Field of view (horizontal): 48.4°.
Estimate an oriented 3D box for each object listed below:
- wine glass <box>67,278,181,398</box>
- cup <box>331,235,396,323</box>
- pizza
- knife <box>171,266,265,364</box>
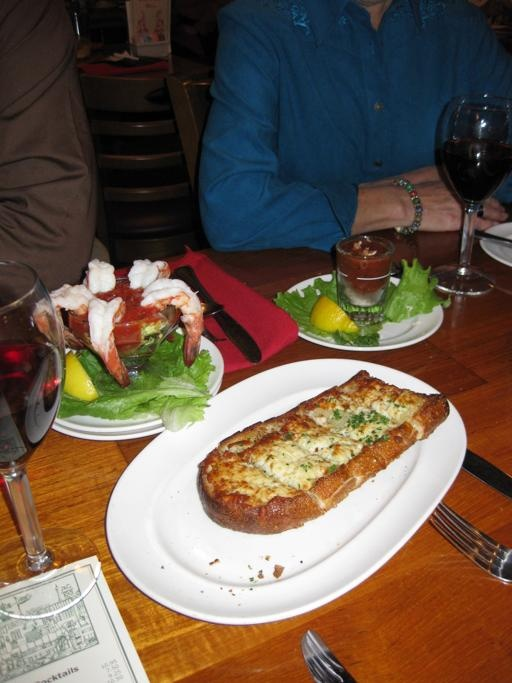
[{"bbox_3d":[-0.243,0.006,0.963,0.172,0.134,0.183,22,39,22],"label":"wine glass"},{"bbox_3d":[0.230,-0.128,1.211,0.165,0.228,0.149,1,40,9],"label":"cup"},{"bbox_3d":[0.099,0.113,0.776,0.341,0.048,0.167,-23,37,-30],"label":"pizza"},{"bbox_3d":[-0.102,-0.104,1.213,0.083,0.020,0.540,-16,37,-17],"label":"knife"}]
